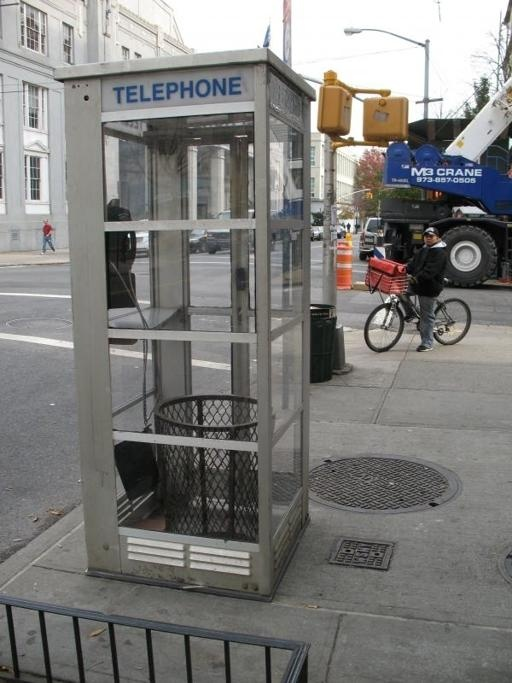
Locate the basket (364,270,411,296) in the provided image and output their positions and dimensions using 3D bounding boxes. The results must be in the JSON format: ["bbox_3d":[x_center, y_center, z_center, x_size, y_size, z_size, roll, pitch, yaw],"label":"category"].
[{"bbox_3d":[1.835,-0.783,10.131,0.366,0.361,0.500,7,5,-30],"label":"basket"}]

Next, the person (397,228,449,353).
[{"bbox_3d":[2.307,-0.666,9.957,0.525,1.686,0.412,3,11,26],"label":"person"}]

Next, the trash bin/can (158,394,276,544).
[{"bbox_3d":[-0.228,0.647,4.011,0.568,0.700,0.560,2,8,15],"label":"trash bin/can"}]
